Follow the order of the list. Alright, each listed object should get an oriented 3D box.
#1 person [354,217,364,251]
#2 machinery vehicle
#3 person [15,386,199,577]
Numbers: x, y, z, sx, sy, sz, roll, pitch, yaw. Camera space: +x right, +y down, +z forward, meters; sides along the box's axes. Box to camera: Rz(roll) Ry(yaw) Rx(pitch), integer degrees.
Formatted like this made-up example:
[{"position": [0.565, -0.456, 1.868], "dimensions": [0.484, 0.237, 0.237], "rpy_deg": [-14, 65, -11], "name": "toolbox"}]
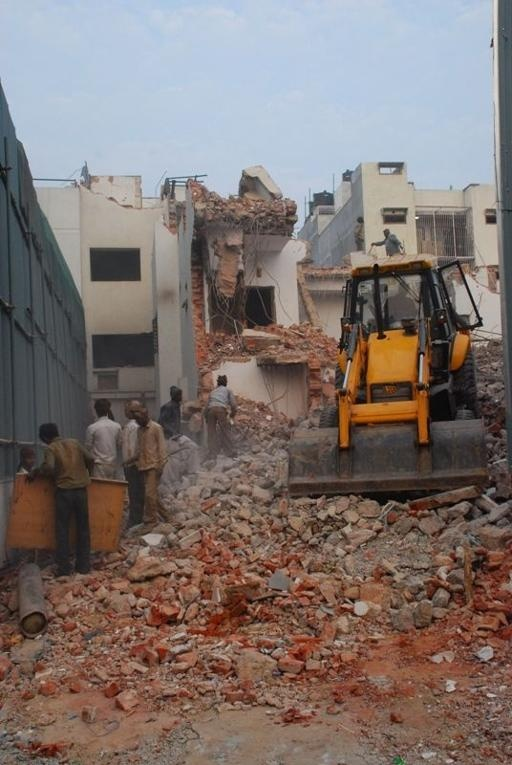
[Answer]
[{"position": [4.181, -6.105, 26.354], "dimensions": [0.258, 1.318, 0.782], "rpy_deg": [-8, 5, -9], "name": "person"}, {"position": [1.662, -0.269, 7.676], "dimensions": [1.715, 2.225, 3.969], "rpy_deg": [-5, 6, 20], "name": "machinery vehicle"}, {"position": [-1.573, 1.073, 6.943], "dimensions": [1.482, 1.531, 0.680], "rpy_deg": [1, -19, -40], "name": "person"}]
